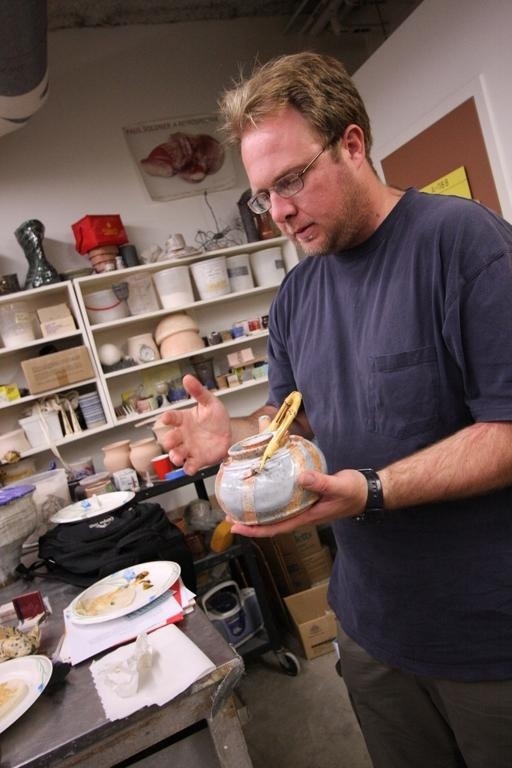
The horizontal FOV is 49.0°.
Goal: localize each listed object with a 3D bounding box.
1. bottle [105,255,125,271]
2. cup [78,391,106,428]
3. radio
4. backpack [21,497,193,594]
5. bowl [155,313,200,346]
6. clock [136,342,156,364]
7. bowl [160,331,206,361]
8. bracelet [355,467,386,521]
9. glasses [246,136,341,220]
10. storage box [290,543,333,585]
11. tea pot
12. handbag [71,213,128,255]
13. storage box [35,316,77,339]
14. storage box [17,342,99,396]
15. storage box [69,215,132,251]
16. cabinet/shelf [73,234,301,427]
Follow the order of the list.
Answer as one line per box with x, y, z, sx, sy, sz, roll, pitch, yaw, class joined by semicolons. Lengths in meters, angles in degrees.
-0.874;-0.730;3.436;0.110;0.090;0.045;-26;8;-37;bottle
-0.984;0.158;3.379;0.161;0.220;0.156;-21;6;2;cup
-0.131;1.036;2.537;0.304;0.271;0.146;-18;9;-30;radio
-0.468;0.490;1.695;0.393;0.201;0.447;-1;3;-11;backpack
-0.512;-0.319;3.596;0.203;0.125;0.206;-20;0;0;bowl
-0.701;-0.189;3.522;0.135;0.128;0.035;-2;-3;-14;clock
-0.466;-0.246;3.592;0.215;0.123;0.209;-17;4;1;bowl
0.189;0.176;0.900;0.045;0.070;0.072;-2;-30;-9;bracelet
0.075;-0.382;1.082;0.133;0.038;0.127;-43;11;-16;glasses
0.292;0.969;3.068;0.265;0.166;0.260;-4;-4;-10;storage box
0.015;0.121;0.967;0.235;0.155;0.149;-24;0;9;tea pot
-0.995;-0.908;3.492;0.272;0.204;0.274;-16;6;14;handbag
-1.192;-0.339;3.351;0.202;0.135;0.044;-5;-3;-18;storage box
-1.146;-0.081;3.230;0.492;0.252;0.231;-14;24;-26;storage box
-0.964;-0.885;3.481;0.269;0.197;0.265;-20;14;1;storage box
-0.481;-0.336;3.200;1.214;0.728;0.355;-19;6;-21;cabinet/shelf
